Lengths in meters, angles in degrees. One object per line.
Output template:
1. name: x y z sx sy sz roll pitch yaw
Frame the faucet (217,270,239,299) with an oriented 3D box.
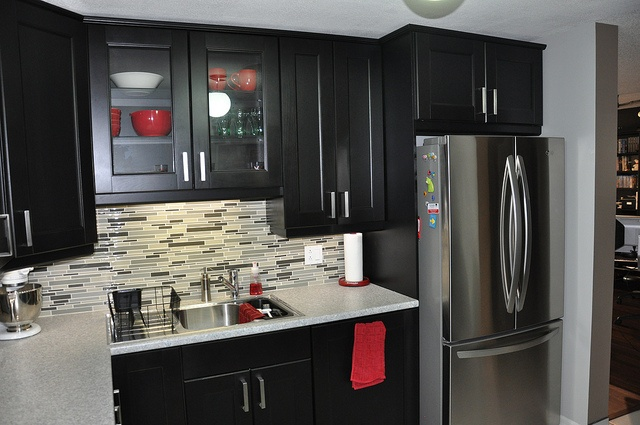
1. faucet: -0.692 0.533 3.543 0.153 0.218 0.156 -4 14 -11

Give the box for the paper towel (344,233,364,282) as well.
1. paper towel: 0.265 0.353 3.767 0.143 0.384 0.163 -1 14 2

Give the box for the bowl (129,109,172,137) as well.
1. bowl: -1.152 -0.590 3.183 0.267 0.150 0.258 -8 1 0

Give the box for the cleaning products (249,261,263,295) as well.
1. cleaning products: -0.505 0.501 3.619 0.087 0.232 0.179 -3 14 -8

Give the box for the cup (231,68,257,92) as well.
1. cup: -0.529 -0.926 3.288 0.195 0.130 0.121 -2 11 -4

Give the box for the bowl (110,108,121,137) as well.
1. bowl: -1.330 -0.589 3.064 0.067 0.183 0.032 -6 15 -20

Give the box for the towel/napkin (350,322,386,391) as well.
1. towel/napkin: 0.311 0.975 3.258 0.339 0.411 0.114 3 -2 -23

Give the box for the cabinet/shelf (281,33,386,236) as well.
1. cabinet/shelf: 0.099 -0.593 3.448 0.804 1.324 0.387 -3 14 -8

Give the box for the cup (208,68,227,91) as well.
1. cup: -0.702 -0.913 3.248 0.149 0.156 0.141 0 1 0

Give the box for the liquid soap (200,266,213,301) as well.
1. liquid soap: -0.860 0.540 3.513 0.076 0.243 0.138 -5 14 -13

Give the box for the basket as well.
1. basket: -1.179 0.675 3.163 0.361 0.206 0.356 -4 8 -35

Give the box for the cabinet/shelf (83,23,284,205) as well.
1. cabinet/shelf: -0.972 -0.705 3.338 1.330 1.098 0.492 -8 18 -32
